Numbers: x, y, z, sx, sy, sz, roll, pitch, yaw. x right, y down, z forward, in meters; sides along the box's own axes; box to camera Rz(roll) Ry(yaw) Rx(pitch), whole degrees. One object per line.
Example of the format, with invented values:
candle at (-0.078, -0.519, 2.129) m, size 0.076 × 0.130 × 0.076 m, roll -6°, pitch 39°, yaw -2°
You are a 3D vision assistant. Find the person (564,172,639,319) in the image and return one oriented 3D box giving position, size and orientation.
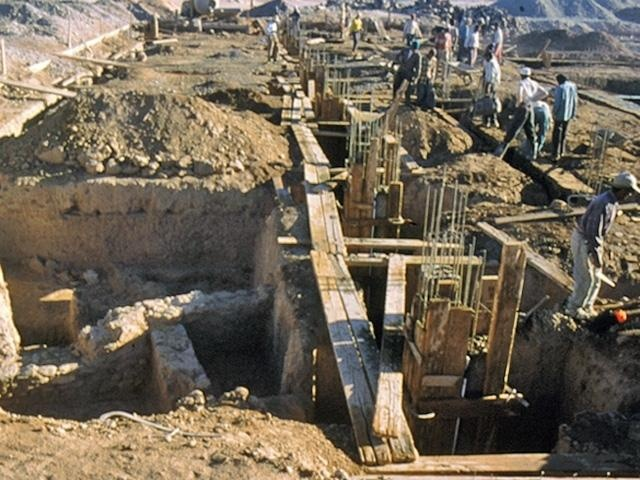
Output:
person at (5.168, 0.221, 16.025) m, size 0.922 × 2.751 × 0.994 m, roll 3°, pitch 48°, yaw 4°

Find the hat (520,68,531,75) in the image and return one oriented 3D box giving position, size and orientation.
hat at (4.603, -3.714, 19.598) m, size 0.201 × 0.182 × 0.326 m, roll 2°, pitch 20°, yaw 3°
